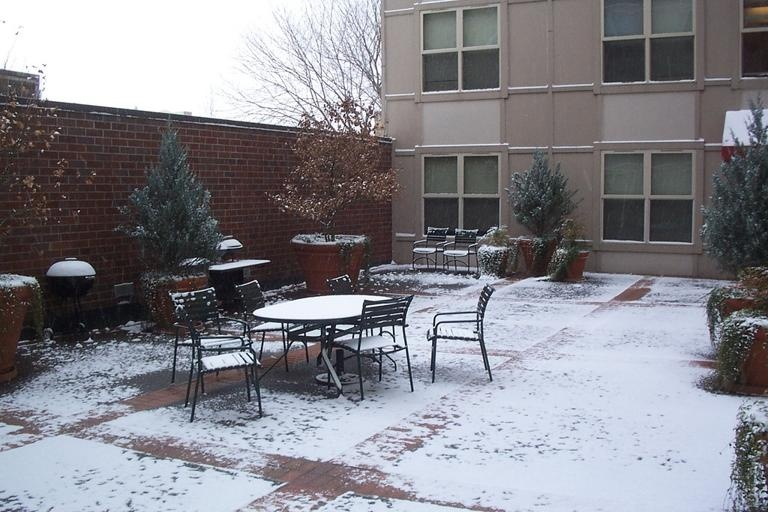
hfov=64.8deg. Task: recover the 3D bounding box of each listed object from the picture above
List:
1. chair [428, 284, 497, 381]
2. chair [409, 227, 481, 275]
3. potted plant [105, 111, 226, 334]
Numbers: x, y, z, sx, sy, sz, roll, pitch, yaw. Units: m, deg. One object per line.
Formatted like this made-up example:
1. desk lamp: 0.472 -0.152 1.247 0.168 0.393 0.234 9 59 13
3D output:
1. chair: 1.115 1.127 9.335 1.264 1.933 1.211 1 0 0
2. chair: 1.713 -0.213 17.591 1.989 1.284 2.042 -1 3 15
3. potted plant: -3.995 -0.590 11.147 1.559 3.583 1.167 0 4 25
